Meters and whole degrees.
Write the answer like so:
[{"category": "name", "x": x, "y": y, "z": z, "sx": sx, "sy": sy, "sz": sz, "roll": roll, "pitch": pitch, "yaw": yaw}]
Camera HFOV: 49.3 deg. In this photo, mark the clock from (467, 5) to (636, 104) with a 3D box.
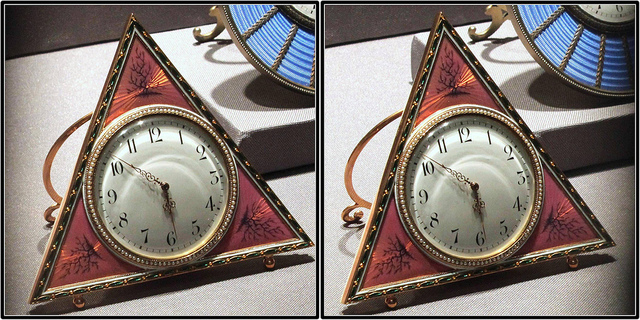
[{"category": "clock", "x": 2.552, "y": -1.043, "z": 6.825, "sx": 1.168, "sy": 0.971, "sz": 0.494, "roll": -6, "pitch": -16, "yaw": 6}]
